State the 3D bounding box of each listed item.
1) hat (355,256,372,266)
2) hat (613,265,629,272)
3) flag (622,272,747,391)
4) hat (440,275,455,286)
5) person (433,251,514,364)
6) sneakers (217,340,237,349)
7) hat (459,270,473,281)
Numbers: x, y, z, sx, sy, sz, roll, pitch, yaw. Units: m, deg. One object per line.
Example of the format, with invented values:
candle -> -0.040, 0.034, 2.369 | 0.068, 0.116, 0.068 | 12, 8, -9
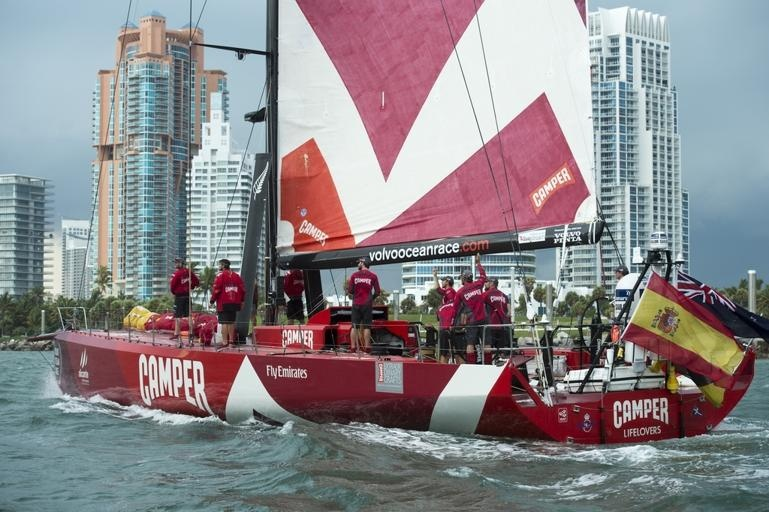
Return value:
hat -> -0.388, 0.051, 20.579 | 0.206, 0.214, 0.166 | 14, 9, 34
hat -> 4.513, 0.223, 20.704 | 0.266, 0.167, 0.215 | 5, 1, 31
flag -> 5.242, 1.433, 19.205 | 1.781, 1.407, 0.352 | 31, -13, -7
hat -> 1.254, 0.464, 21.249 | 0.156, 0.215, 0.214 | 2, 8, 1
person -> 1.464, 1.089, 20.302 | 1.024, 2.259, 0.429 | -2, 5, -14
sneakers -> -3.079, 1.692, 20.996 | 0.437, 0.190, 0.152 | -1, -3, 34
hat -> 1.514, 0.333, 19.818 | 0.141, 0.184, 0.191 | 2, 5, -1
